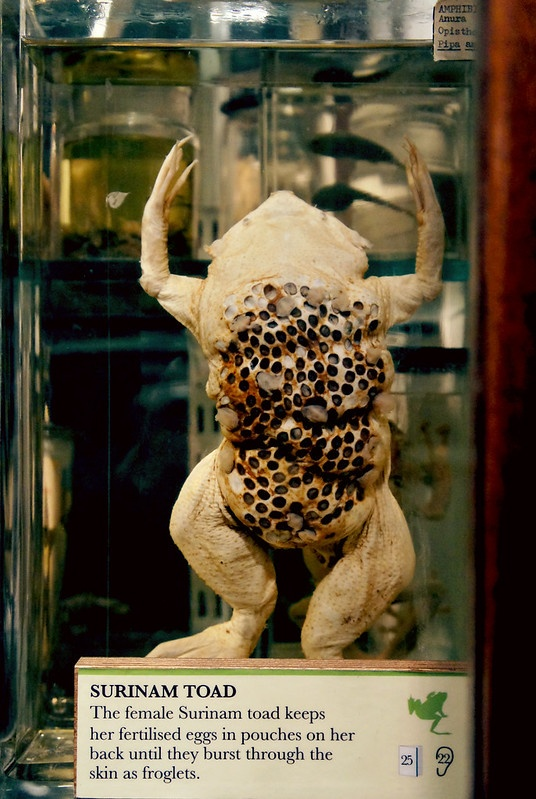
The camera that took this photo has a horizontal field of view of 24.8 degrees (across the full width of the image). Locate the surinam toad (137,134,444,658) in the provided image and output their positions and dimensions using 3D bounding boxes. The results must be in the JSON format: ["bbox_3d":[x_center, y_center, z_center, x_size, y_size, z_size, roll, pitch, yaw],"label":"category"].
[{"bbox_3d":[0.002,-0.006,1.144,0.253,0.510,0.154,-1,8,14],"label":"surinam toad"}]
